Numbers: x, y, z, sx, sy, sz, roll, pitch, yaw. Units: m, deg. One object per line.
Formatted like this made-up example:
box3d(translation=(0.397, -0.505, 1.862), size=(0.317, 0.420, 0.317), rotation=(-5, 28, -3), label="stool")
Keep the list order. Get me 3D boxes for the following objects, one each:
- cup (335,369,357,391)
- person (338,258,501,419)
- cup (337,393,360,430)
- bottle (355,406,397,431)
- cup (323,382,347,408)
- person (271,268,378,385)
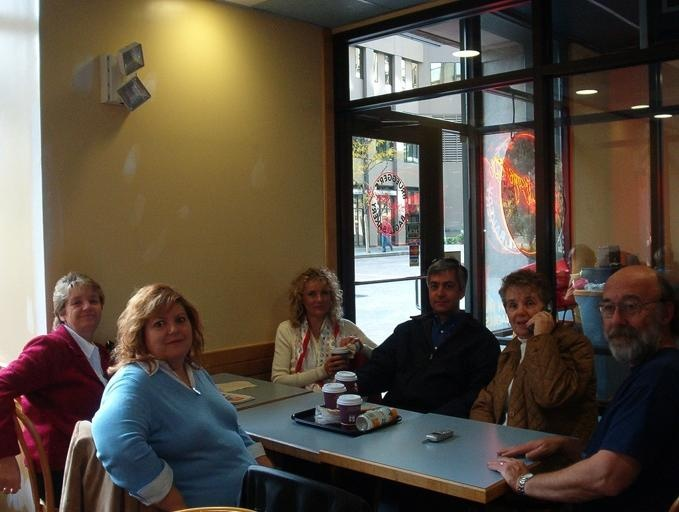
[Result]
box3d(translation=(0.037, 0.586, 2.666), size=(0.093, 0.094, 0.096), rotation=(0, -2, 0), label="cup")
box3d(translation=(0.530, 0.521, 3.235), size=(0.719, 0.992, 0.811), rotation=(3, -5, 24), label="person")
box3d(translation=(0.042, 0.654, 2.381), size=(0.111, 0.113, 0.115), rotation=(1, -4, 0), label="cup")
box3d(translation=(0.163, 0.706, 2.473), size=(0.071, 0.073, 0.237), rotation=(-30, -20, 31), label="bottle")
box3d(translation=(-0.029, 0.625, 2.538), size=(0.096, 0.082, 0.100), rotation=(0, -6, 0), label="cup")
box3d(translation=(-0.001, 0.511, 3.896), size=(0.714, 0.932, 0.665), rotation=(5, -15, -25), label="person")
